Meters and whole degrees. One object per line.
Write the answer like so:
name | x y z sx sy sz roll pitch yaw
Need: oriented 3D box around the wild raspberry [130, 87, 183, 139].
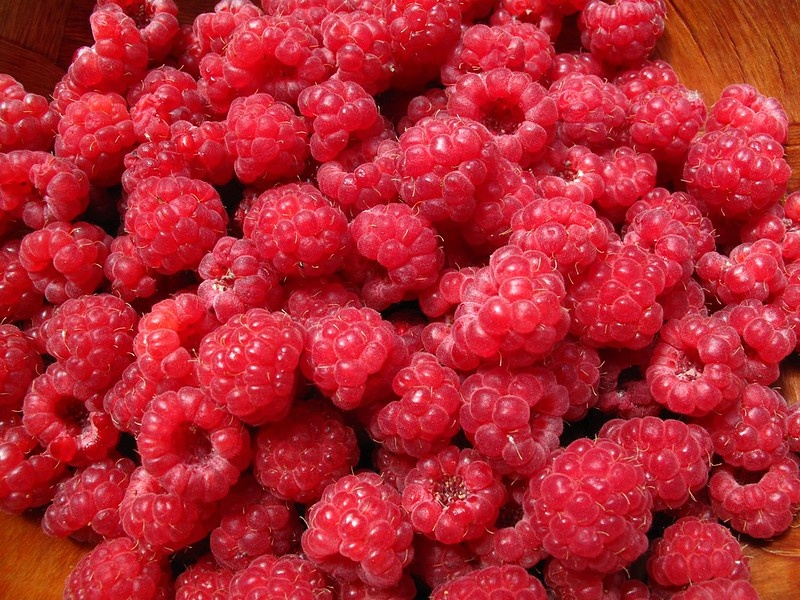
wild raspberry | -0.479 -0.374 1.599 0.076 0.050 0.106 37 77 -14

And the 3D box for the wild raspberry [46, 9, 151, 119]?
wild raspberry | -0.587 -0.465 1.686 0.108 0.171 0.229 42 82 -8

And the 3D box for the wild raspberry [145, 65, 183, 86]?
wild raspberry | -0.479 -0.454 1.637 0.053 0.029 0.044 -16 18 45

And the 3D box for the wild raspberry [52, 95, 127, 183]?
wild raspberry | -0.611 -0.349 1.666 0.146 0.177 0.143 -20 23 -32

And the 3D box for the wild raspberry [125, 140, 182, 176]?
wild raspberry | -0.473 -0.274 1.570 0.083 0.051 0.074 -3 41 -7
